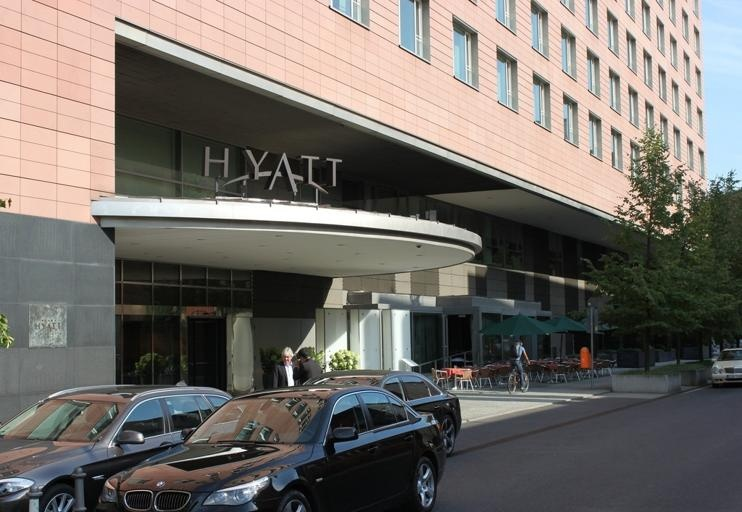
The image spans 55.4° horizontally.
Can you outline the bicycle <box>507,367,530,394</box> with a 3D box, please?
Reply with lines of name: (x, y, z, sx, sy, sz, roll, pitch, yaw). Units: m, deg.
bicycle: (6.048, 5.240, 29.212, 0.828, 0.862, 1.615, -9, -15, 35)
